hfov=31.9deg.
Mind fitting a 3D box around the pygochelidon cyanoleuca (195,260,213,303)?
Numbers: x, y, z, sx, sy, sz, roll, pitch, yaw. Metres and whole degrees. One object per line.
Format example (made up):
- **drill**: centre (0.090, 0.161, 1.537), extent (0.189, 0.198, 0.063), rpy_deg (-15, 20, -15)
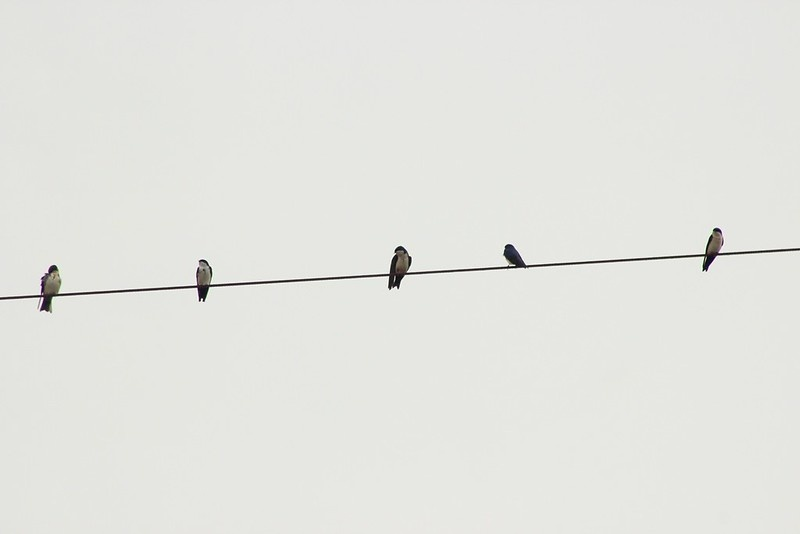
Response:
- **pygochelidon cyanoleuca**: centre (-2.801, 0.148, 19.835), extent (0.176, 0.139, 0.637), rpy_deg (-3, 67, 11)
